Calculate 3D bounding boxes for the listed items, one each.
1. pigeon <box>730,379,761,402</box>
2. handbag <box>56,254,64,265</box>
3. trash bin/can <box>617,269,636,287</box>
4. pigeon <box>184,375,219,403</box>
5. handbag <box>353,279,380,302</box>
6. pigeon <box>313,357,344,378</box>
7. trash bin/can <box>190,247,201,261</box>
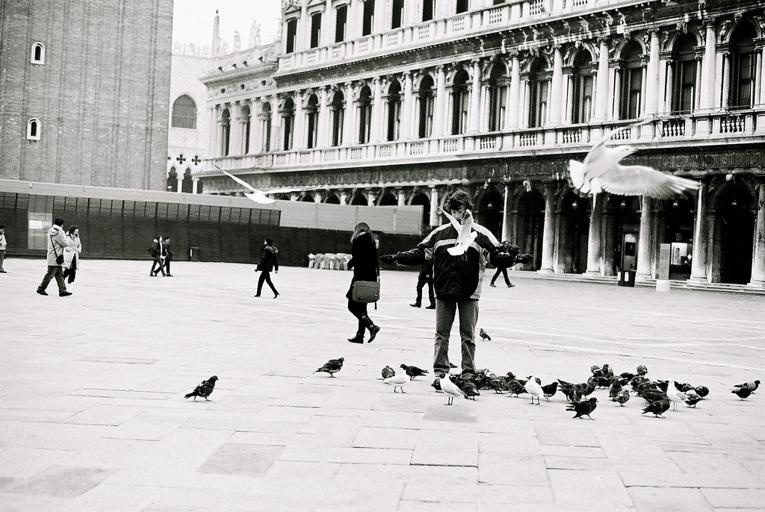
[{"bbox_3d":[5.994,2.190,17.977,0.425,0.291,0.679,3,4,19],"label":"pigeon"},{"bbox_3d":[-8.012,0.038,26.745,0.268,0.233,0.146,1,-9,-42],"label":"handbag"},{"bbox_3d":[9.493,0.828,42.050,0.694,0.601,0.694,-1,-2,38],"label":"trash bin/can"},{"bbox_3d":[-2.865,2.045,16.615,0.704,0.366,0.237,-11,-10,-1],"label":"pigeon"},{"bbox_3d":[-0.360,0.658,21.445,0.498,0.376,0.207,1,14,-3],"label":"handbag"},{"bbox_3d":[-0.928,1.836,18.016,0.466,0.319,0.573,2,3,-3],"label":"pigeon"},{"bbox_3d":[-8.981,-0.196,51.093,0.618,0.721,0.800,1,0,3],"label":"trash bin/can"}]
